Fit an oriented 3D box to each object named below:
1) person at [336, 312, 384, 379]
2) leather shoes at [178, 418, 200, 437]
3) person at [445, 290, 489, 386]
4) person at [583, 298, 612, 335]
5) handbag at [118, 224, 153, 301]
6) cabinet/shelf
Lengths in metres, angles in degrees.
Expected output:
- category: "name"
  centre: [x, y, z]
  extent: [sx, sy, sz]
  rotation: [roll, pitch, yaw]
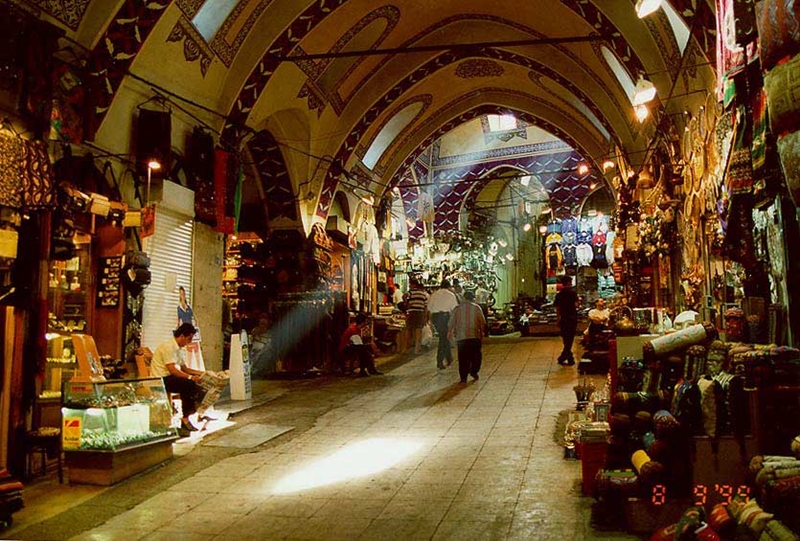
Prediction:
- category: "person"
  centre: [-0.907, 1.616, 13.283]
  extent: [1.239, 1.869, 0.744]
  rotation: [-2, 0, -4]
- category: "leather shoes"
  centre: [-2.693, 2.032, 8.088]
  extent: [0.300, 0.233, 0.106]
  rotation: [-1, -3, -19]
- category: "person"
  centre: [1.264, 1.196, 11.600]
  extent: [0.639, 1.663, 1.138]
  rotation: [-6, -8, 3]
- category: "person"
  centre: [3.855, 0.907, 12.153]
  extent: [0.587, 0.821, 0.429]
  rotation: [19, -23, -39]
- category: "handbag"
  centre: [-3.984, -0.138, 9.529]
  extent: [0.276, 1.069, 0.503]
  rotation: [-6, -8, 7]
- category: "cabinet/shelf"
  centre: [-3.177, 1.802, 7.235]
  extent: [0.598, 1.089, 1.536]
  rotation: [-6, -11, 5]
